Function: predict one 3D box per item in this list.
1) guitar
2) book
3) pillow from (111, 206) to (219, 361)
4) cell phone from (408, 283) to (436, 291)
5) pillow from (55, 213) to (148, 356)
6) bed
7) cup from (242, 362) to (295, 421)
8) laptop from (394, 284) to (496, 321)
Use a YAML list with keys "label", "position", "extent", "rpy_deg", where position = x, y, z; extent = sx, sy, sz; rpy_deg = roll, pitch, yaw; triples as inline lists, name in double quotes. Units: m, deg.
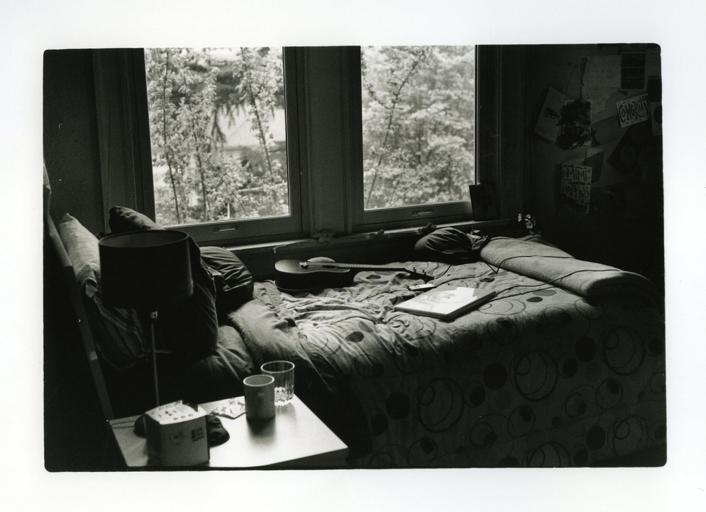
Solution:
- label: "guitar"
  position: [-0.010, 0.065, 2.322]
  extent: [0.554, 0.084, 0.225]
  rpy_deg: [4, 5, -3]
- label: "book"
  position: [0.368, 0.179, 2.301]
  extent: [0.175, 0.025, 0.245]
  rpy_deg: [15, 23, 41]
- label: "pillow"
  position: [-0.665, 0.121, 2.101]
  extent: [0.182, 0.573, 0.357]
  rpy_deg: [-6, 0, 10]
- label: "cell phone"
  position: [0.278, 0.129, 2.341]
  extent: [0.078, 0.019, 0.040]
  rpy_deg: [-10, 16, -5]
- label: "pillow"
  position: [-0.816, 0.095, 2.062]
  extent: [0.125, 0.470, 0.300]
  rpy_deg: [-19, 12, -24]
- label: "bed"
  position: [0.082, 0.343, 2.397]
  extent: [1.853, 0.908, 1.164]
  rpy_deg: [-5, 22, -14]
- label: "cup"
  position: [-0.282, 0.483, 2.086]
  extent: [0.126, 0.149, 0.236]
  rpy_deg: [2, 6, 18]
- label: "laptop"
  position: [0.375, 0.180, 2.293]
  extent: [0.245, 0.025, 0.176]
  rpy_deg: [-19, 24, -41]
